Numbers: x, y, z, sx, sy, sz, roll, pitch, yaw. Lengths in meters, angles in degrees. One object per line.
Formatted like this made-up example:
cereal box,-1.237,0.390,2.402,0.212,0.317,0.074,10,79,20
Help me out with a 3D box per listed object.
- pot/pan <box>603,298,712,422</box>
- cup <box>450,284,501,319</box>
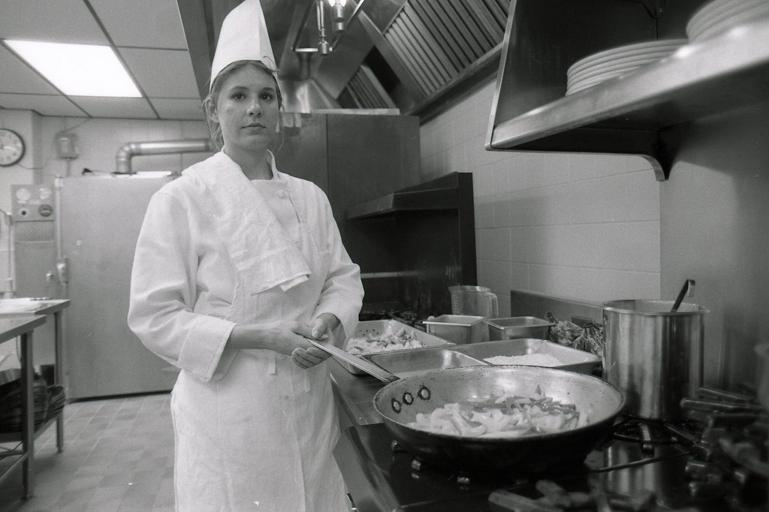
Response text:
pot/pan,0.704,0.282,1.635,0.303,0.317,0.306,-1,-4,7
cup,0.375,0.199,2.556,0.141,0.128,0.255,-5,6,-39
